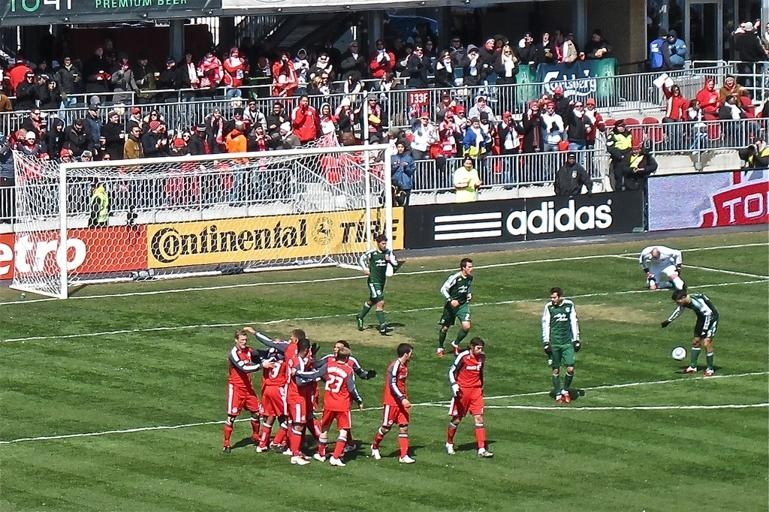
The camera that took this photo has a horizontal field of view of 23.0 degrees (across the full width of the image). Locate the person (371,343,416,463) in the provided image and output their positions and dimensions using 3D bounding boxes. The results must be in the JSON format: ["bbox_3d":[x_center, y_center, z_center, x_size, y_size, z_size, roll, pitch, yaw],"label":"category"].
[{"bbox_3d":[0.219,3.344,43.365,1.233,2.728,0.778,2,2,43],"label":"person"}]

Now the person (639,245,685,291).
[{"bbox_3d":[7.713,0.395,52.053,1.005,1.234,1.477,-5,5,-18],"label":"person"}]

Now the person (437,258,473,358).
[{"bbox_3d":[1.834,1.369,48.310,0.973,2.741,1.432,-1,10,-25],"label":"person"}]

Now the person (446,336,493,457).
[{"bbox_3d":[1.948,3.269,43.635,1.037,2.775,0.763,-3,5,2],"label":"person"}]

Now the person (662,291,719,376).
[{"bbox_3d":[7.876,1.856,47.540,1.214,2.322,1.190,-1,-2,42],"label":"person"}]

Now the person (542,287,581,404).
[{"bbox_3d":[4.369,2.222,46.137,0.920,2.829,0.845,-1,2,15],"label":"person"}]
